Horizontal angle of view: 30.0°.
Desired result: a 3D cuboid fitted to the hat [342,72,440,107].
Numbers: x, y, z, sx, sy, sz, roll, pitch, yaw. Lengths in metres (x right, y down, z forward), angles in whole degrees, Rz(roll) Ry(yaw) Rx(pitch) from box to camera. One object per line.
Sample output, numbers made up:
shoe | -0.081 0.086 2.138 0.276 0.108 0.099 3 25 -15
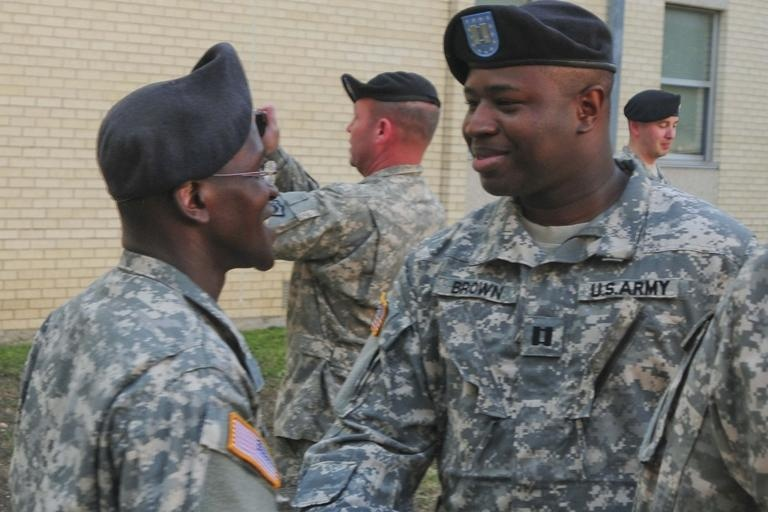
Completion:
hat | 0.055 -1.206 10.412 0.524 0.122 0.308 1 -1 -8

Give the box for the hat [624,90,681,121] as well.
hat | 2.422 -1.350 12.975 0.438 0.113 0.365 -8 19 -8
